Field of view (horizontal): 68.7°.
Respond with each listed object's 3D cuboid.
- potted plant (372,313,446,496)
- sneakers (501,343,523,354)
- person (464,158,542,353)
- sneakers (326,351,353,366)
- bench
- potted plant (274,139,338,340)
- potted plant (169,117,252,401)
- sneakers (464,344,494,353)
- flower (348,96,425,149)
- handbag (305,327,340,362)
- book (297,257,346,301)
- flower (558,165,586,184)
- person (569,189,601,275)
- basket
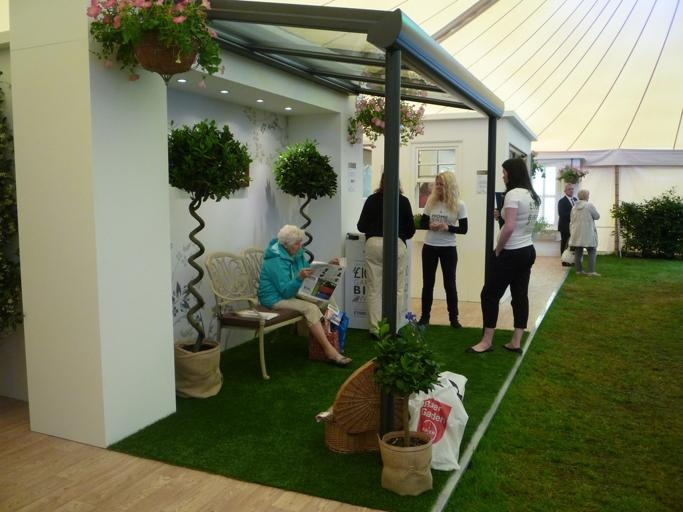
[{"bbox_3d":[0.461,1.011,3.553,0.465,1.097,0.606,1,8,6],"label":"potted plant"},{"bbox_3d":[2.086,1.112,6.083,0.090,0.095,0.247,-1,13,-29],"label":"sneakers"},{"bbox_3d":[1.952,0.015,5.848,0.658,2.280,0.527,-6,10,-40],"label":"person"},{"bbox_3d":[-0.005,1.159,5.589,0.251,0.074,0.137,6,10,38],"label":"sneakers"},{"bbox_3d":[-0.971,0.587,5.697,0.836,1.295,0.995,-1,2,15],"label":"bench"},{"bbox_3d":[-0.501,-0.791,6.863,0.767,1.466,0.719,-3,28,2],"label":"potted plant"},{"bbox_3d":[-1.324,-0.035,5.083,0.738,2.638,1.072,-2,8,-17],"label":"potted plant"},{"bbox_3d":[1.676,1.103,5.994,0.308,0.093,0.115,4,-4,-10],"label":"sneakers"},{"bbox_3d":[0.647,-1.981,7.180,1.059,0.696,1.664,3,9,19],"label":"flower"},{"bbox_3d":[-0.199,1.022,5.884,0.383,0.400,0.303,0,0,13],"label":"handbag"},{"bbox_3d":[-0.196,0.298,5.685,0.443,0.477,0.165,10,19,9],"label":"book"},{"bbox_3d":[7.221,-2.555,15.637,0.626,0.471,0.654,6,13,32],"label":"flower"},{"bbox_3d":[5.833,-0.594,11.909,0.665,1.958,1.131,4,9,25],"label":"person"},{"bbox_3d":[0.106,1.176,4.087,0.742,0.768,0.665,0,5,-15],"label":"basket"}]
